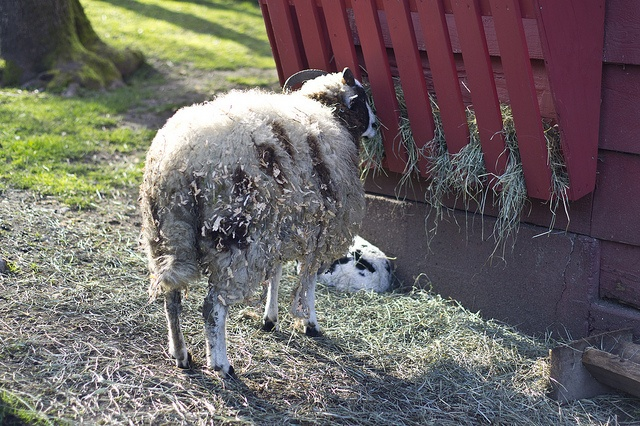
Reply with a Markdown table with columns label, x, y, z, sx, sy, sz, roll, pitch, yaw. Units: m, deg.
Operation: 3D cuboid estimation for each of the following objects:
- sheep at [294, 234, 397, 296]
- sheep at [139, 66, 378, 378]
| label | x | y | z | sx | sy | sz | roll | pitch | yaw |
| --- | --- | --- | --- | --- | --- | --- | --- | --- | --- |
| sheep | 0.273 | 0.525 | 8.019 | 0.916 | 0.553 | 0.559 | 8 | -3 | 24 |
| sheep | -0.423 | 0.023 | 7.511 | 1.440 | 2.763 | 3.015 | 9 | 17 | 38 |
